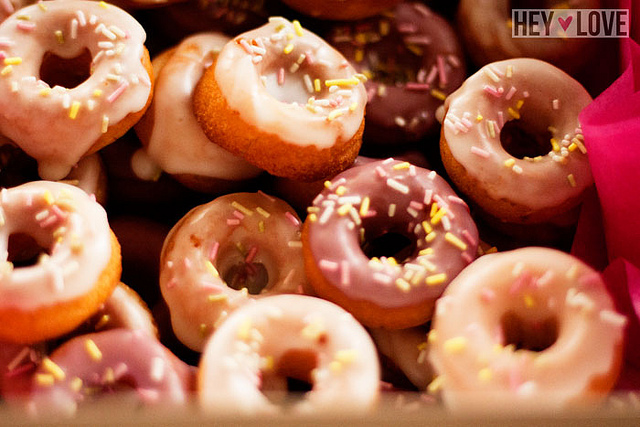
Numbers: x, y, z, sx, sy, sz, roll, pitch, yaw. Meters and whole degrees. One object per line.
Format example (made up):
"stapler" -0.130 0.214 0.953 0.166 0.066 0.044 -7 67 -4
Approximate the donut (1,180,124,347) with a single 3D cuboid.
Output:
"donut" -0.442 0.083 1.211 0.251 0.097 0.264 1 67 -5

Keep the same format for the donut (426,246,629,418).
"donut" 0.348 0.210 1.180 0.337 0.139 0.278 -4 52 -11

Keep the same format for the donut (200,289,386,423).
"donut" -0.054 0.267 1.161 0.292 0.167 0.251 -2 52 -10

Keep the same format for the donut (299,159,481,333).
"donut" 0.139 0.059 1.319 0.349 0.132 0.365 -26 40 -23

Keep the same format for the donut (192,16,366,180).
"donut" -0.083 -0.172 1.333 0.312 0.113 0.310 22 54 -3

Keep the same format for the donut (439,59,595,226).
"donut" 0.361 -0.123 1.444 0.317 0.117 0.316 -33 77 -11

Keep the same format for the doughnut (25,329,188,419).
"doughnut" -0.354 0.270 1.145 0.256 0.046 0.147 -8 53 -15
